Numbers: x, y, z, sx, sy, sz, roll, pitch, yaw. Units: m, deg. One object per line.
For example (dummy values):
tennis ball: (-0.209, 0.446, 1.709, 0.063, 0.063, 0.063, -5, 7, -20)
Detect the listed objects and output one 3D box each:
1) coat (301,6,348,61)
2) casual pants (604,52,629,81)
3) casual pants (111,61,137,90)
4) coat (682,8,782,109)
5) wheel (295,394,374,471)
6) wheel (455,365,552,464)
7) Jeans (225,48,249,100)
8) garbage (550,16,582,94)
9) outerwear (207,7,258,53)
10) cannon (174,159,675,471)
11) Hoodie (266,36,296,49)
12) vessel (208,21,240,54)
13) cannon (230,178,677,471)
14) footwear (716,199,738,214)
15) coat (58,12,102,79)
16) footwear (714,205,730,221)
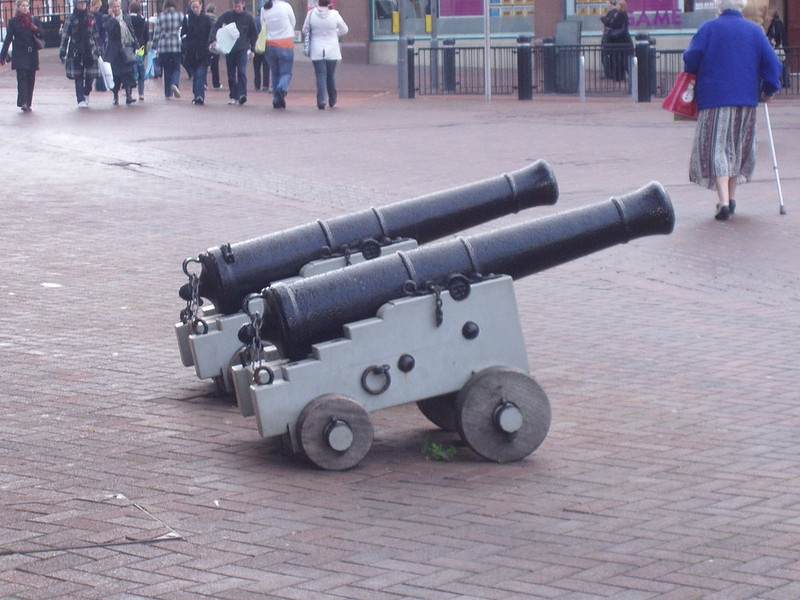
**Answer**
coat: (-1.199, -4.343, 25.342, 0.669, 0.860, 0.829, -2, 13, -2)
casual pants: (3.842, -4.104, 27.271, 0.497, 0.611, 0.498, -3, 7, -9)
casual pants: (-4.717, -3.867, 26.633, 0.544, 0.564, 0.338, 2, 13, 12)
coat: (2.978, -2.105, 13.832, 0.822, 0.786, 0.345, 0, 13, 10)
wheel: (-0.355, 0.704, 8.464, 0.406, 0.384, 0.203, 2, 12, -7)
wheel: (0.571, 0.630, 8.583, 0.542, 0.513, 0.268, -1, 4, -4)
Jeans: (-2.725, -3.807, 26.266, 0.389, 1.061, 0.279, -22, 47, -24)
garbage: (3.165, -4.441, 27.965, 0.683, 1.259, 0.696, 4, 16, 24)
outerwear: (-2.780, -4.592, 26.355, 0.801, 0.706, 0.360, -1, 11, -37)
cannon: (0.350, 0.233, 9.256, 2.963, 1.441, 1.580, -10, 28, -14)
Hoodie: (-1.927, -4.152, 25.166, 0.434, 0.185, 0.306, -5, 13, -13)
vessel: (-2.891, -4.377, 26.094, 0.478, 0.525, 0.379, -7, 14, -20)
cannon: (0.423, 0.149, 8.961, 2.617, 1.419, 1.420, -7, 6, -11)
footwear: (2.958, -0.819, 13.865, 0.088, 0.098, 0.249, 13, 21, 42)
coat: (-5.245, -4.159, 25.311, 0.698, 1.143, 0.311, 0, -2, -3)
footwear: (2.880, -0.782, 13.783, 0.133, 0.133, 0.102, 3, 14, 22)
